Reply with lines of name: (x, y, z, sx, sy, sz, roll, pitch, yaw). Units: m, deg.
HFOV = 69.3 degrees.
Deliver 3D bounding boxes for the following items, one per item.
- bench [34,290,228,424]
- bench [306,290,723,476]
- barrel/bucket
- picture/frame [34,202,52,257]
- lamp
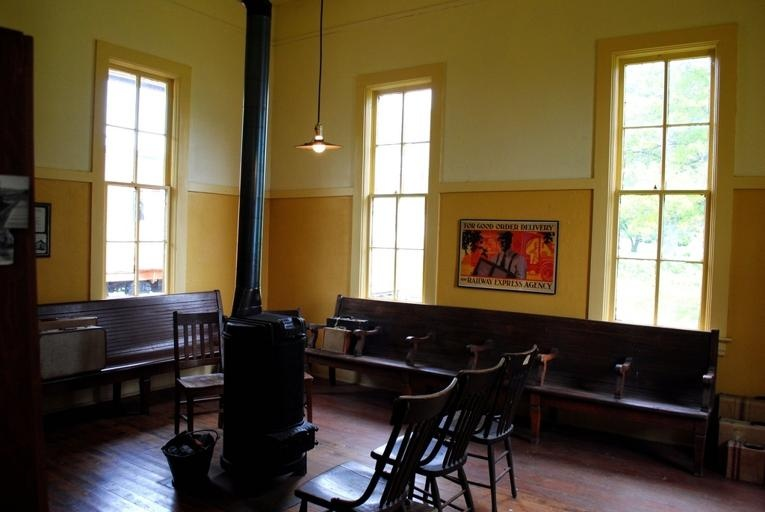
bench: (-2.645, 1.064, 6.105, 0.668, 1.013, 2.045, 25, 18, 40)
bench: (1.047, 1.229, 6.002, 4.376, 1.349, 0.856, 1, -6, 35)
barrel/bucket: (-1.577, 1.703, 4.676, 0.390, 0.378, 0.436, 8, 4, 40)
picture/frame: (-3.535, -0.274, 5.778, 0.054, 0.576, 0.150, 4, 2, 36)
lamp: (-0.716, -2.274, 6.676, 0.460, 2.190, 1.635, 2, 2, -8)
